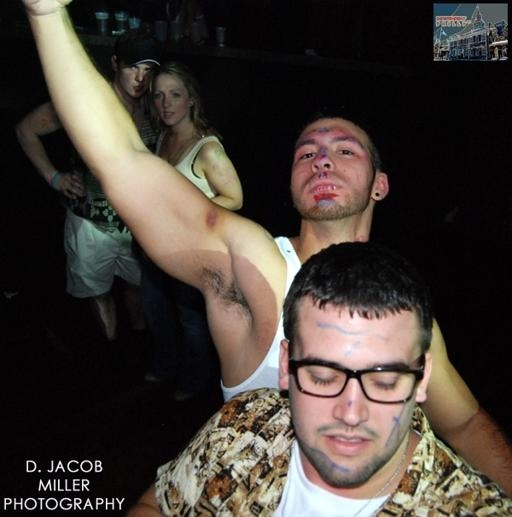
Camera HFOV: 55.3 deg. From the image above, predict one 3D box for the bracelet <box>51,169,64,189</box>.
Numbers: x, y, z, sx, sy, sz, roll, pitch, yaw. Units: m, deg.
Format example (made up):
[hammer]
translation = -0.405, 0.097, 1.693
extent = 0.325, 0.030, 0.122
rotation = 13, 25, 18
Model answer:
[bracelet]
translation = -1.309, -0.532, 3.259
extent = 0.045, 0.139, 0.092
rotation = 7, -8, -36

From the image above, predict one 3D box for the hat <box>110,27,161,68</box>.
[hat]
translation = -0.786, -1.380, 3.173
extent = 0.268, 0.226, 0.379
rotation = -5, 28, -23

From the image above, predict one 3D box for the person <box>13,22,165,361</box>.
[person]
translation = -0.968, -0.358, 3.330
extent = 1.033, 2.280, 0.569
rotation = -8, 33, -28
